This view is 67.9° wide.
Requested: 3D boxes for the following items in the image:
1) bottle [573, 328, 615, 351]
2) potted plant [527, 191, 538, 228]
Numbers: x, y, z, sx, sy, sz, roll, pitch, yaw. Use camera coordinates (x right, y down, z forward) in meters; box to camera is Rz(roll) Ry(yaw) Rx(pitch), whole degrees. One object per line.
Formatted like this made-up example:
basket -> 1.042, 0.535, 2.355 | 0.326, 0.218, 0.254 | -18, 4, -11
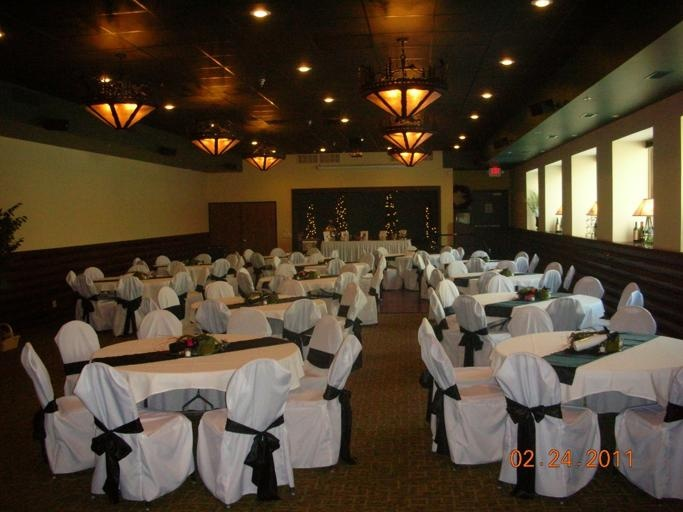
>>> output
bottle -> 2.321, 0.772, 4.688 | 0.448, 0.155, 0.150 | -10, -2, -20
potted plant -> 5.987, -1.445, 15.835 | 0.248, 1.148, 0.558 | -1, 8, 1
